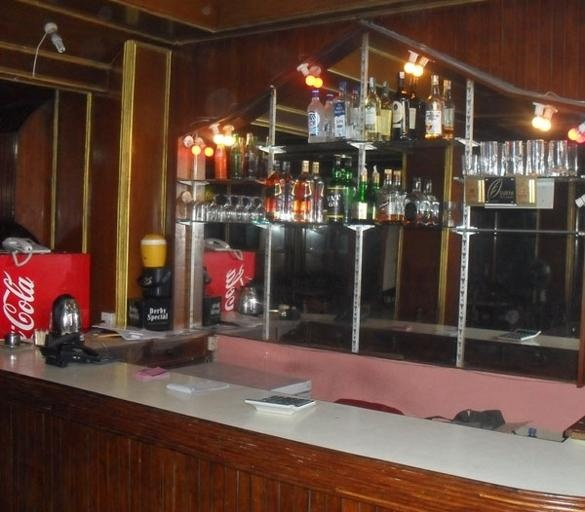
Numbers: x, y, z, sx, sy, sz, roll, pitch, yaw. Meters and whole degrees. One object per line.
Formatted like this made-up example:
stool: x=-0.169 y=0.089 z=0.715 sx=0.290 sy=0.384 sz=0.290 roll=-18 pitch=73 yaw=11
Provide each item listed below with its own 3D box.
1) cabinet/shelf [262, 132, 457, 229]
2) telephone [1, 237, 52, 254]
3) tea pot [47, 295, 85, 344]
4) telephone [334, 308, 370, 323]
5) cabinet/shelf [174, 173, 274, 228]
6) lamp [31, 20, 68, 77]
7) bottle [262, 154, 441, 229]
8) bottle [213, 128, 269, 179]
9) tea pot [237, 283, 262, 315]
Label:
cabinet/shelf: x=0.292 y=-0.474 z=3.782 sx=1.023 sy=0.532 sz=0.346 roll=7 pitch=10 yaw=40
telephone: x=-1.661 y=-0.057 z=4.076 sx=0.289 sy=0.108 sz=0.241 roll=-2 pitch=6 yaw=-35
tea pot: x=-1.041 y=0.324 z=2.961 sx=0.151 sy=0.242 sz=0.440 roll=-1 pitch=5 yaw=-21
telephone: x=0.339 y=0.359 z=3.931 sx=0.148 sy=0.040 sz=0.100 roll=-5 pitch=6 yaw=-40
cabinet/shelf: x=-0.446 y=-0.347 z=4.137 sx=0.563 sy=0.291 sz=0.313 roll=-1 pitch=6 yaw=-3
lamp: x=-1.479 y=-1.291 z=3.962 sx=0.146 sy=0.379 sz=0.173 roll=10 pitch=13 yaw=36
bottle: x=0.297 y=-0.372 z=3.717 sx=1.106 sy=0.397 sz=0.280 roll=4 pitch=5 yaw=23
bottle: x=-0.333 y=-0.652 z=4.169 sx=0.311 sy=0.329 sz=0.111 roll=6 pitch=9 yaw=23
tea pot: x=-0.297 y=0.319 z=4.579 sx=0.146 sy=0.217 sz=0.211 roll=2 pitch=-12 yaw=-1
